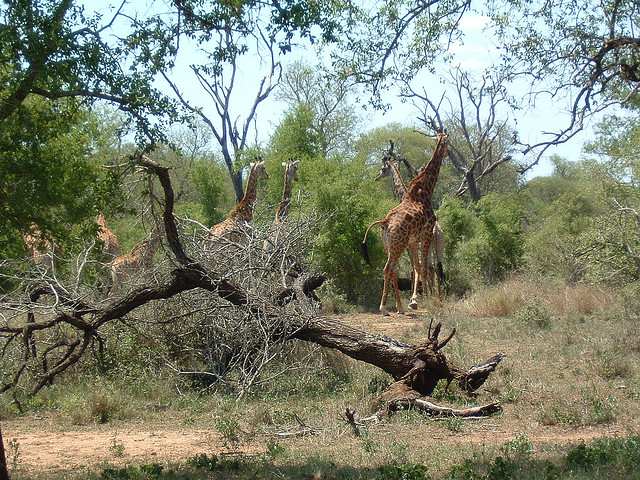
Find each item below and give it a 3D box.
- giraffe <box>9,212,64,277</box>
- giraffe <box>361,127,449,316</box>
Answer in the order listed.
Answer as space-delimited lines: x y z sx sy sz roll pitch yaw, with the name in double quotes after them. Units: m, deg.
-5.746 0.060 15.813 0.255 1.220 0.791 -33 5 5 "giraffe"
2.410 -0.569 20.620 1.466 4.915 2.404 -12 -13 44 "giraffe"
